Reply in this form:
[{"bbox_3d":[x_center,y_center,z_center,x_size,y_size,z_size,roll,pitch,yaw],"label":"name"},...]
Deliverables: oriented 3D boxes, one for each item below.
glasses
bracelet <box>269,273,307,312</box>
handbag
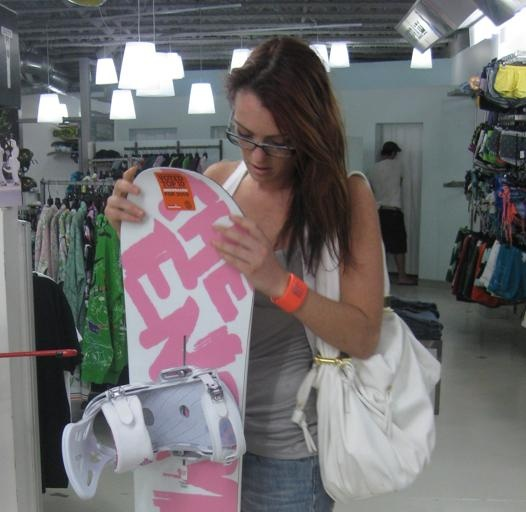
[{"bbox_3d":[-0.014,-0.262,1.230,0.170,0.077,0.089,4,9,14],"label":"glasses"},{"bbox_3d":[0.063,0.074,1.166,0.050,0.078,0.076,-35,-23,22],"label":"bracelet"},{"bbox_3d":[0.273,0.328,1.311,0.332,0.474,0.168,-16,9,-17],"label":"handbag"}]
